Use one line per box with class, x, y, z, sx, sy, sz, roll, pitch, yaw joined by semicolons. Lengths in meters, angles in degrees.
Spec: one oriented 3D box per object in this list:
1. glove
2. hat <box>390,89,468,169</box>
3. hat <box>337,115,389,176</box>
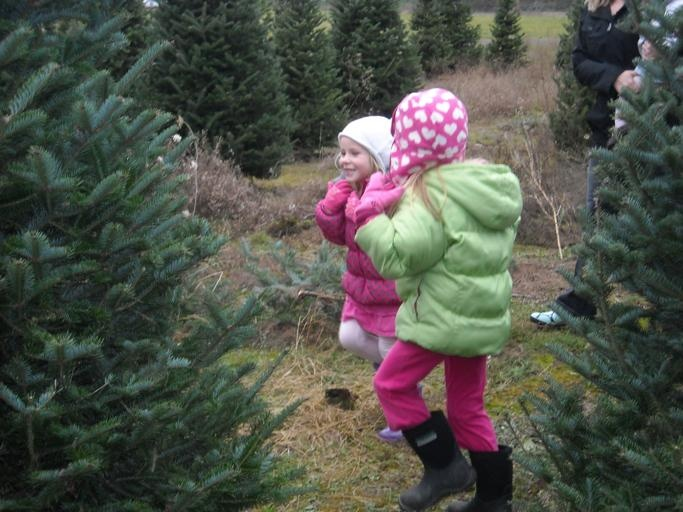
glove;0.135;-0.264;3.799;0.183;0.241;0.105;20;40;-34
hat;0.452;-0.585;3.797;0.232;0.317;0.303;-3;22;-25
hat;0.118;-0.556;4.317;0.266;0.249;0.211;-3;7;-16
